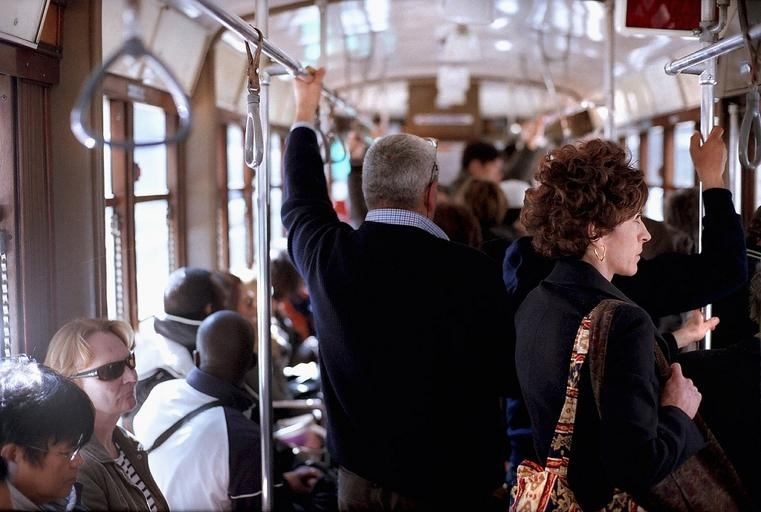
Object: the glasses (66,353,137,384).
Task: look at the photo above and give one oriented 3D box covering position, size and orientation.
[{"bbox_3d":[-0.982,0.410,2.912,0.131,0.039,0.117,-10,4,20],"label":"glasses"}]
